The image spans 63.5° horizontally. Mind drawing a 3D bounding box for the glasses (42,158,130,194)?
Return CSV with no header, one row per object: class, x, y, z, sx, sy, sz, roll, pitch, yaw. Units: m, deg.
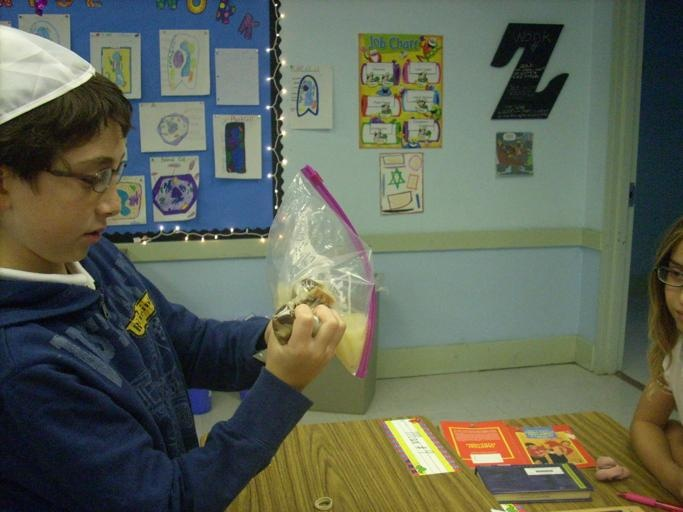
glasses,-0.470,-0.145,1.010,0.091,0.028,0.088,-12,-1,42
